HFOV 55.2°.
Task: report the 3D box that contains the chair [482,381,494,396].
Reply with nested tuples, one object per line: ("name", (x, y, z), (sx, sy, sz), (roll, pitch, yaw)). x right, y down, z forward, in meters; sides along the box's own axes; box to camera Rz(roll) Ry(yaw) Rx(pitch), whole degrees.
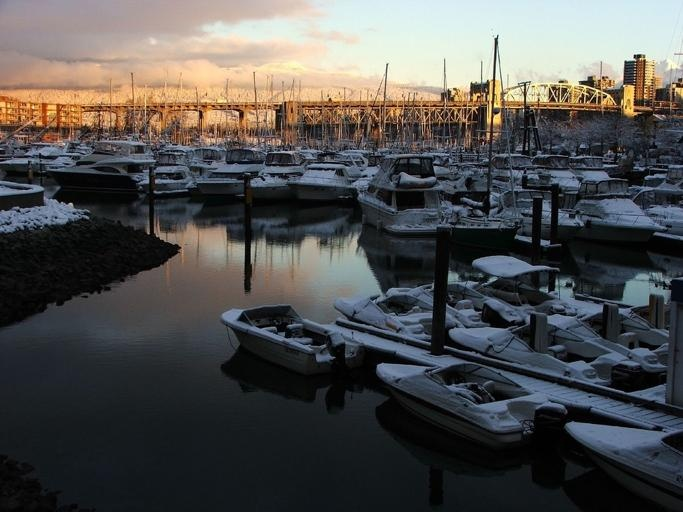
("chair", (2.856, 2.534, 12.642), (0.189, 0.274, 0.113), (-2, 6, -25))

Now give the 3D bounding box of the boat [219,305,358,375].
("boat", (-1.185, 2.196, 14.688), (2.952, 0.953, 1.424), (18, 17, 41))

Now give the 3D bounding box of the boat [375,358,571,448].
("boat", (2.323, 2.656, 12.015), (2.882, 0.920, 1.417), (18, 19, 40))
